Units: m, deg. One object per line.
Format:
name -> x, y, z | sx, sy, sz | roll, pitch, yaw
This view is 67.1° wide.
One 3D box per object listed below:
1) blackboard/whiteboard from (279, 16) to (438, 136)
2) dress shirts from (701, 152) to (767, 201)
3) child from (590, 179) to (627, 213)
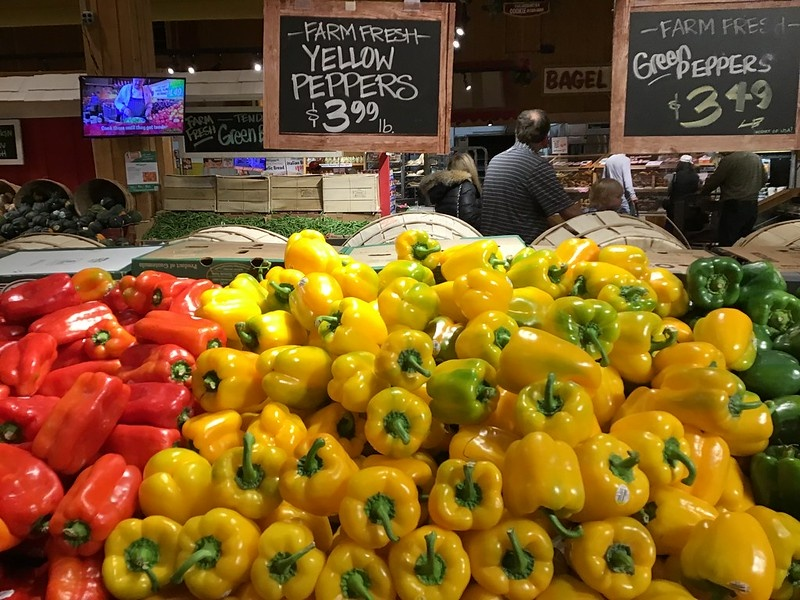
blackboard/whiteboard -> -0.253, -1.530, 4.037 | 0.787, 0.540, 0.029 | 1, 4, 0
dress shirts -> 5.241, -1.893, 9.415 | 0.768, 0.764, 0.433 | 8, 18, 25
child -> 2.440, -1.228, 7.147 | 0.360, 0.368, 0.418 | 5, 17, 15
